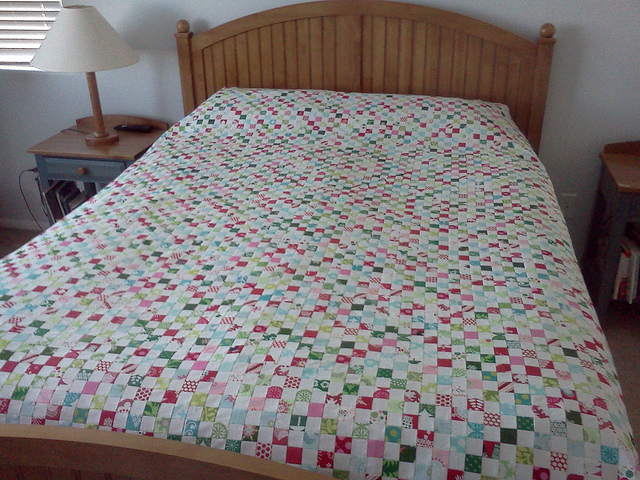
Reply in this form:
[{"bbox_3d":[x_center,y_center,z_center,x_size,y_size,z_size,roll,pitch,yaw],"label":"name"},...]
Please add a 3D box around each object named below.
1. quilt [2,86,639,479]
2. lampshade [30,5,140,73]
[{"bbox_3d":[-0.029,-0.049,1.661,1.800,0.404,1.691,4,26,8],"label":"quilt"},{"bbox_3d":[-1.225,-1.050,2.443,0.476,0.189,0.421,2,38,-3],"label":"lampshade"}]
